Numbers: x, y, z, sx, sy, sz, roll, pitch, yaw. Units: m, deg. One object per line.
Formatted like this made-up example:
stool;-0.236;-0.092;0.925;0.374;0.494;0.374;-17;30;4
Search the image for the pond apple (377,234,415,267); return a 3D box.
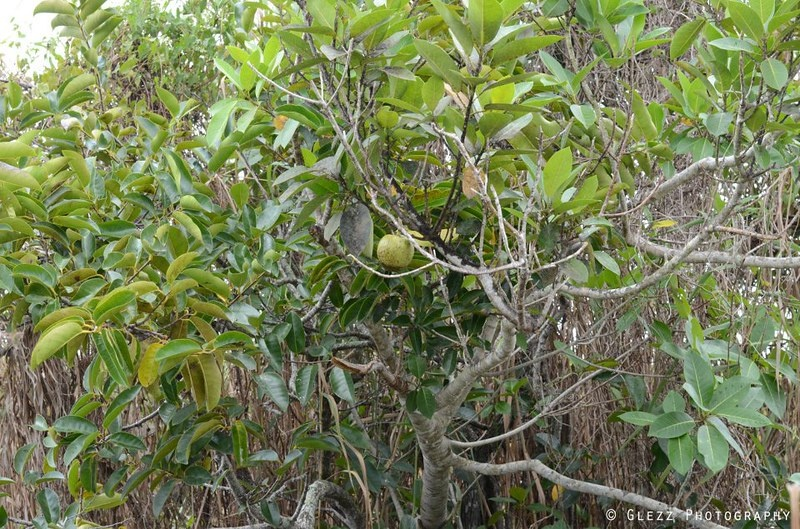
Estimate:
pond apple;-0.018;-0.071;3.708;0.162;0.164;0.162;3;2;-30
